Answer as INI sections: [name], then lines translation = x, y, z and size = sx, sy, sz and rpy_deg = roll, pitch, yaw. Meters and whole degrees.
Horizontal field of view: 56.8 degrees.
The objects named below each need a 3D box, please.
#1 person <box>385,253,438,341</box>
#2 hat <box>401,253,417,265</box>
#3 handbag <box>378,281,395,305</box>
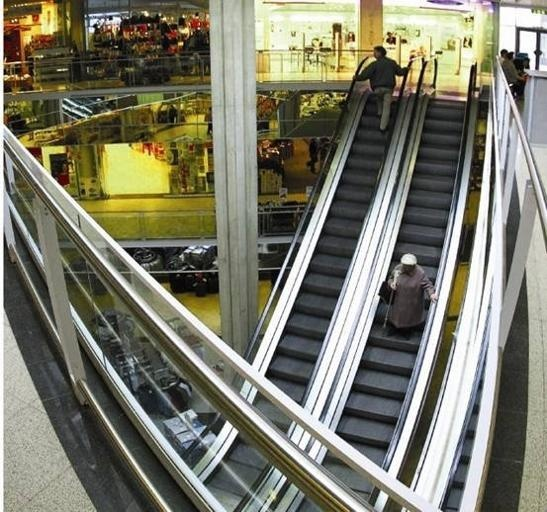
[person]
translation = 2.149, 0.632, 7.893
size = 0.682, 1.493, 0.987
rpy_deg = 3, 18, 13
[hat]
translation = 2.020, 0.057, 7.488
size = 0.186, 0.149, 0.348
rpy_deg = 6, 19, 21
[handbag]
translation = 1.725, 0.568, 7.706
size = 0.072, 0.298, 0.308
rpy_deg = 7, 2, 24
